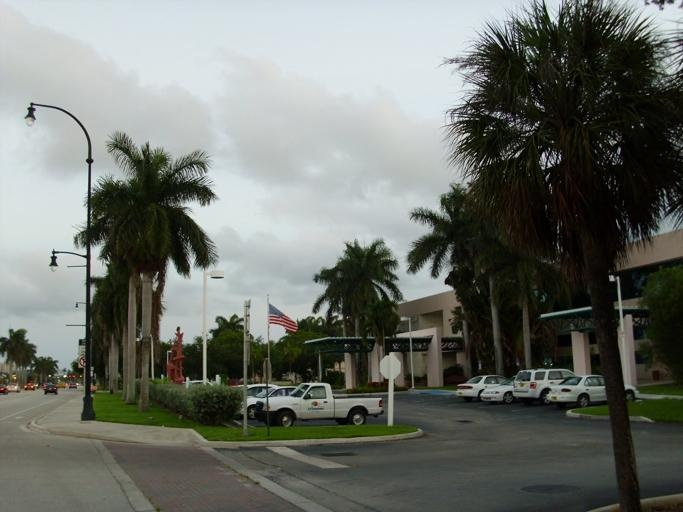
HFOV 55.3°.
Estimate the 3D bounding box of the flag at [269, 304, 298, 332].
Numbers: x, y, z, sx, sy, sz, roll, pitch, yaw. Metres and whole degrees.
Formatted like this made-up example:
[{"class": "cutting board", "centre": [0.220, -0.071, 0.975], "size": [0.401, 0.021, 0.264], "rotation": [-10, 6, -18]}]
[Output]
[{"class": "flag", "centre": [-3.770, 3.977, 41.662], "size": [1.549, 1.620, 2.470], "rotation": [-5, -15, 7]}]
